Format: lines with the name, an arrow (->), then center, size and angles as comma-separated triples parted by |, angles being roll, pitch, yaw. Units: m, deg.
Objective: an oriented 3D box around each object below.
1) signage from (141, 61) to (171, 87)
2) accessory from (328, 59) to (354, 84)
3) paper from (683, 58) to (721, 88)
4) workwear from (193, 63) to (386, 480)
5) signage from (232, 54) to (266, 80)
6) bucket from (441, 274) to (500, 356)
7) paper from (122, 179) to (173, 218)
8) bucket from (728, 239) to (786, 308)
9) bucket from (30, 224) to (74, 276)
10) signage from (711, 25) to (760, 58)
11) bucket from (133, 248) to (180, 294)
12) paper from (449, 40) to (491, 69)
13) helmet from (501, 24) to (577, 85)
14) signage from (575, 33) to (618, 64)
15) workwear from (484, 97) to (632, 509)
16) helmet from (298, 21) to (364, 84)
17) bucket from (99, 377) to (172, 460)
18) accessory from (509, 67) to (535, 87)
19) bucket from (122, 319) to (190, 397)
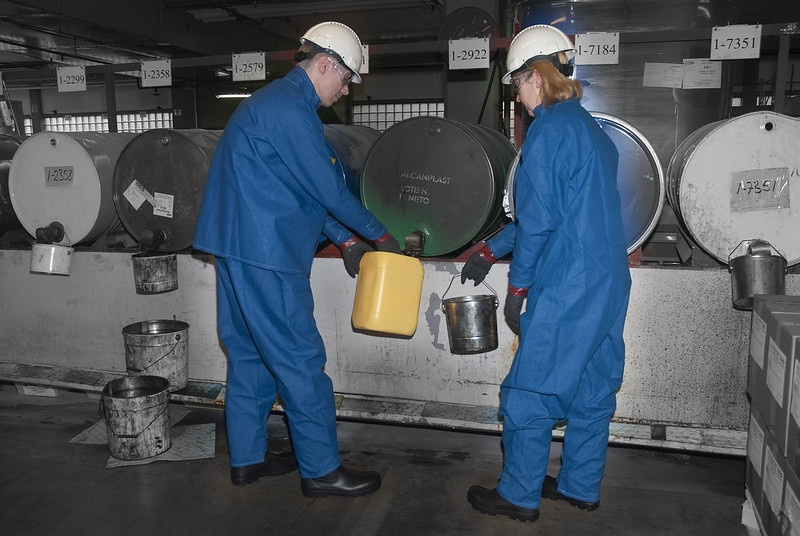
signage -> -2.110, -1.706, 6.115 | 0.361, 0.220, 0.186 | 3, 8, 15
accessory -> -0.371, -1.251, 4.465 | 0.135, 0.036, 0.131 | 55, 10, 24
paper -> 2.289, -1.481, 5.320 | 0.198, 0.160, 0.029 | 4, 13, 14
workwear -> -0.781, 0.032, 4.548 | 1.046, 2.640, 0.422 | 3, 8, 16
signage -> -1.249, -1.673, 5.810 | 0.186, 0.163, 0.034 | 3, 16, 4
bucket -> 0.486, 0.286, 4.833 | 0.411, 0.585, 0.337 | -5, -1, 12
paper -> -1.933, -0.521, 5.402 | 0.478, 0.265, 0.017 | 25, 11, 11
bucket -> 2.348, 0.058, 4.634 | 0.366, 0.493, 0.381 | 4, -16, 1
bucket -> -2.801, -0.128, 5.654 | 0.297, 0.460, 0.314 | -6, -12, -1
signage -> 2.347, -1.583, 4.902 | 0.223, 0.198, 0.034 | 1, 0, 17
bucket -> -1.838, 0.003, 5.444 | 0.315, 0.353, 0.305 | 0, 11, 0
paper -> 0.530, -1.626, 5.310 | 0.199, 0.167, 0.052 | 1, 6, 13
helmet -> 0.858, -1.309, 4.324 | 0.368, 0.253, 0.295 | 2, 8, 14
signage -> 1.413, -1.573, 5.045 | 0.321, 0.251, 0.004 | 1, -3, 9
workwear -> 1.003, 0.232, 4.257 | 0.767, 2.481, 0.396 | 1, 7, 3
helmet -> -0.430, -1.412, 4.524 | 0.382, 0.265, 0.277 | 27, 11, -12
bucket -> -1.894, 1.088, 5.067 | 0.450, 0.526, 0.422 | 1, 8, 0
accessory -> 0.742, -1.169, 4.288 | 0.096, 0.040, 0.079 | -27, 12, 7
bucket -> -1.868, 0.614, 5.496 | 0.541, 0.545, 0.527 | 1, 8, 0
